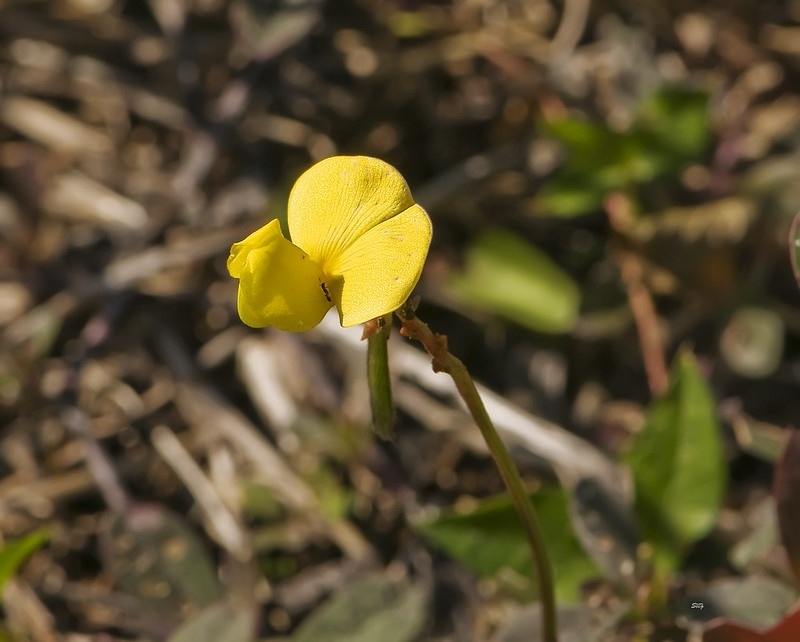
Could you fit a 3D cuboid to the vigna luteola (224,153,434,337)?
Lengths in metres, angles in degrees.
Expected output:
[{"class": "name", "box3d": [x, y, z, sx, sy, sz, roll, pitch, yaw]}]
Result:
[{"class": "vigna luteola", "box3d": [-0.055, -0.058, 0.775, 0.154, 0.056, 0.129, -19, 86, -4]}]
